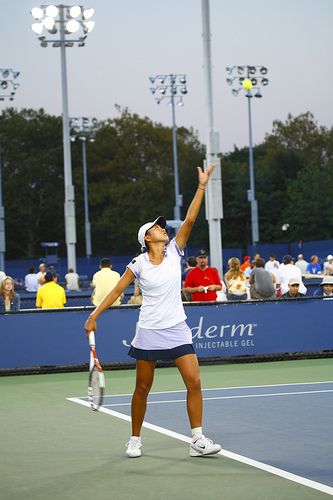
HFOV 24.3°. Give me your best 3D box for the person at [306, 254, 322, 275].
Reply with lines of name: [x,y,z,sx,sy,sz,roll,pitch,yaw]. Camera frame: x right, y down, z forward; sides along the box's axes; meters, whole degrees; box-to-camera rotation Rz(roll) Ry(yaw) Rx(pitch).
person: [5.041,0.487,26.123,0.610,0.820,0.556,0,-5,-19]

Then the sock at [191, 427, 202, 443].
sock: [0.240,1.445,6.052,0.076,0.136,0.096,-3,2,1]

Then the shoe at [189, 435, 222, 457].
shoe: [0.303,1.531,6.047,0.324,0.191,0.110,-7,-1,17]

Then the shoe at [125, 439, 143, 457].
shoe: [-0.254,1.611,6.263,0.122,0.106,0.264,1,-11,-4]

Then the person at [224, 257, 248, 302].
person: [1.198,0.510,13.288,0.352,0.725,0.528,-3,2,5]

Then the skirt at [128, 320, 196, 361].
skirt: [-0.034,0.706,6.145,0.361,0.380,0.629,5,-2,-35]

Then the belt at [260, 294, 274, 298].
belt: [1.708,0.787,13.128,0.221,0.064,0.055,-3,2,-3]
